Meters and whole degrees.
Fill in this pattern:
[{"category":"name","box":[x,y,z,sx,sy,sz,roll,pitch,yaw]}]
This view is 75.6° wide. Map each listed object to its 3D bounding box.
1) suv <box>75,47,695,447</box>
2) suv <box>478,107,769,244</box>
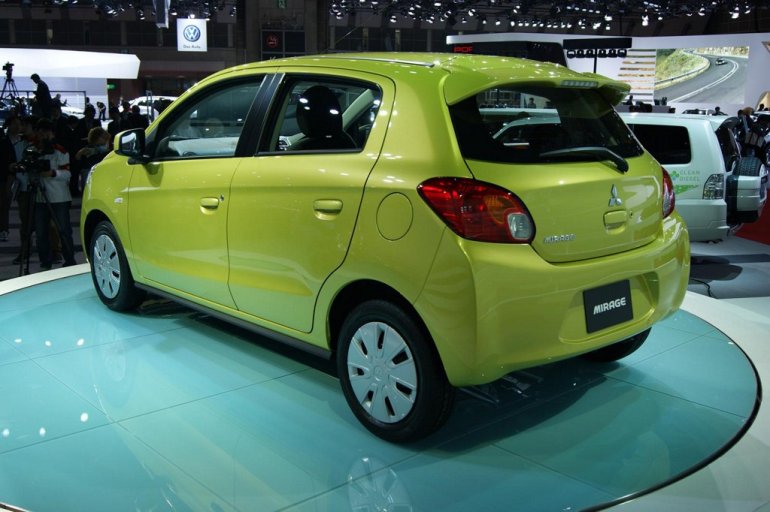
[{"category":"suv","box":[-0.446,-0.324,3.556,2.304,1.619,3.842,-13,23,-43]},{"category":"suv","box":[3.586,-1.172,7.782,3.944,1.608,2.190,8,16,26]}]
